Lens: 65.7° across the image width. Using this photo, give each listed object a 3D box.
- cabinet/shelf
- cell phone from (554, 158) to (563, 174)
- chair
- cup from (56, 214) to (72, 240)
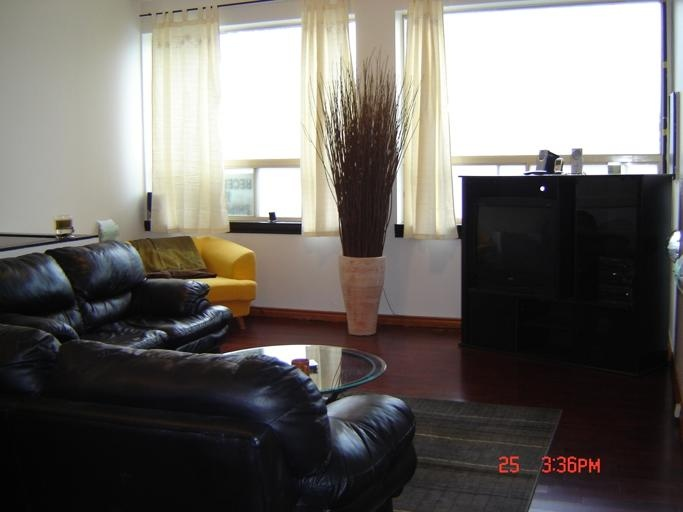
[{"bbox_3d":[1.642,0.061,4.136,1.300,1.387,0.537,3,6,19],"label":"cabinet/shelf"},{"bbox_3d":[1.667,-0.696,4.071,0.058,0.119,0.175,2,9,26],"label":"cell phone"},{"bbox_3d":[-1.440,0.250,4.917,1.139,0.978,0.878,-3,-1,-37],"label":"chair"},{"bbox_3d":[-2.000,-0.213,3.828,0.105,0.174,0.168,-2,-4,40],"label":"cup"}]
